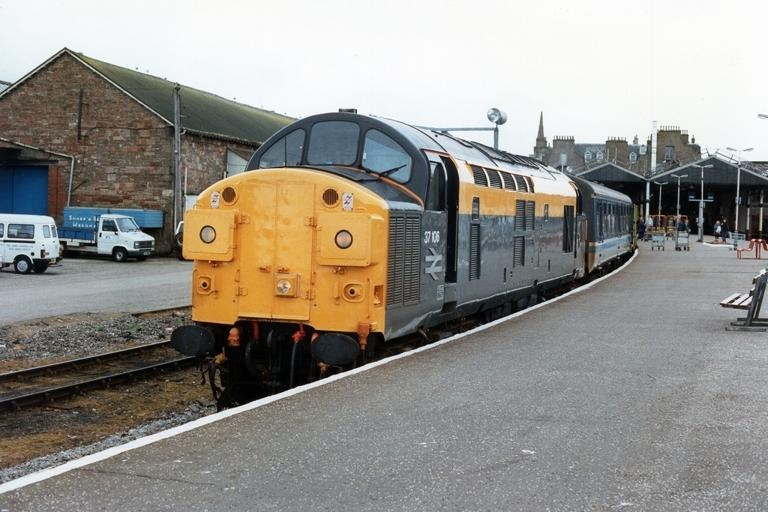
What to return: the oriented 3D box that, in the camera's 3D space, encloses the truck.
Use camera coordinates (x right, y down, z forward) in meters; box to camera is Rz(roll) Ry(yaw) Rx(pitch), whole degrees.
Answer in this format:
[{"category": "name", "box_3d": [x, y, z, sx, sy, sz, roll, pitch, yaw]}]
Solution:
[{"category": "truck", "box_3d": [-16.345, -1.070, 34.510, 6.184, 2.535, 2.481, 1, 3, 32]}]
